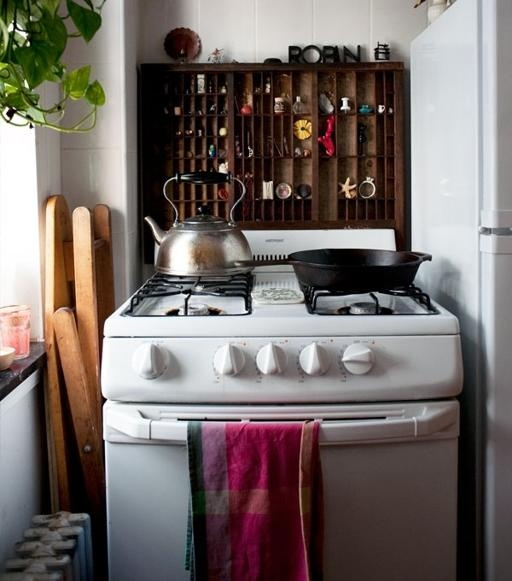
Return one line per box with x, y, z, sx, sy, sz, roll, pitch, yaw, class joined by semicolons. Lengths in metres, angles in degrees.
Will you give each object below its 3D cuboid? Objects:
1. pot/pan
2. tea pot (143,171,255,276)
0.240;-0.051;1.206;0.323;0.061;0.217;-4;4;-11;pot/pan
-0.151;-0.188;1.452;0.281;0.278;0.279;-1;7;0;tea pot
